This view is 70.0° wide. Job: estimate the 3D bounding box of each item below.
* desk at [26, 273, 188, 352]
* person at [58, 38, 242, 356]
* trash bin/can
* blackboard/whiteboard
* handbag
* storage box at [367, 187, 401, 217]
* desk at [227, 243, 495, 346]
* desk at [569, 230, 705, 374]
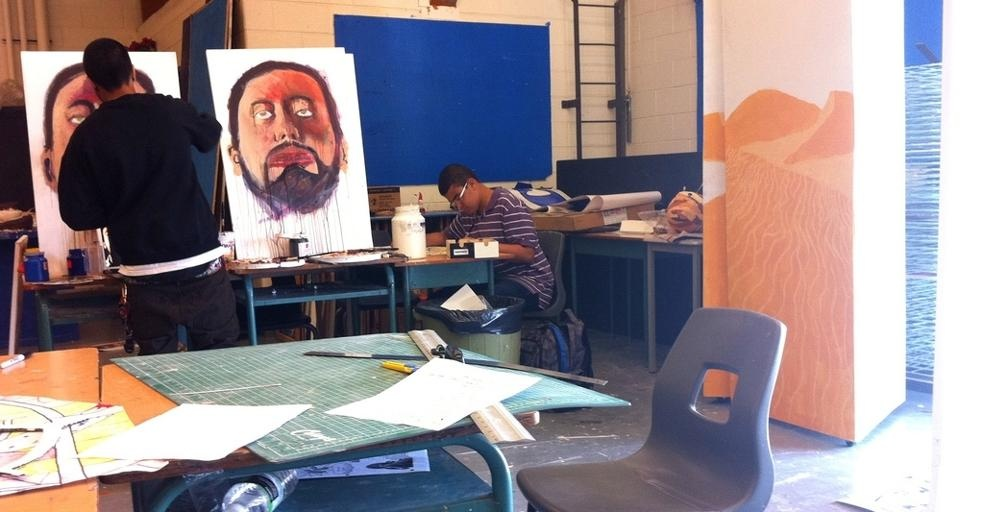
[{"bbox_3d":[-2.730,0.363,5.158,1.070,0.808,0.753,-5,5,-36],"label":"desk"},{"bbox_3d":[-2.329,-0.096,4.733,1.236,2.480,0.930,-17,28,-37],"label":"person"},{"bbox_3d":[-0.145,0.459,5.268,0.510,0.609,1.178,-2,1,25],"label":"trash bin/can"},{"bbox_3d":[-0.479,-1.643,7.320,2.084,1.721,0.325,-8,15,-15],"label":"blackboard/whiteboard"},{"bbox_3d":[0.502,0.770,5.495,0.496,0.679,0.350,2,1,-5],"label":"handbag"},{"bbox_3d":[-1.076,-0.518,6.854,0.496,0.346,0.231,1,6,-9],"label":"storage box"},{"bbox_3d":[-0.607,0.174,5.886,3.026,0.932,1.349,0,1,39],"label":"desk"},{"bbox_3d":[1.332,0.364,6.272,1.198,1.223,0.963,1,0,-4],"label":"desk"}]
